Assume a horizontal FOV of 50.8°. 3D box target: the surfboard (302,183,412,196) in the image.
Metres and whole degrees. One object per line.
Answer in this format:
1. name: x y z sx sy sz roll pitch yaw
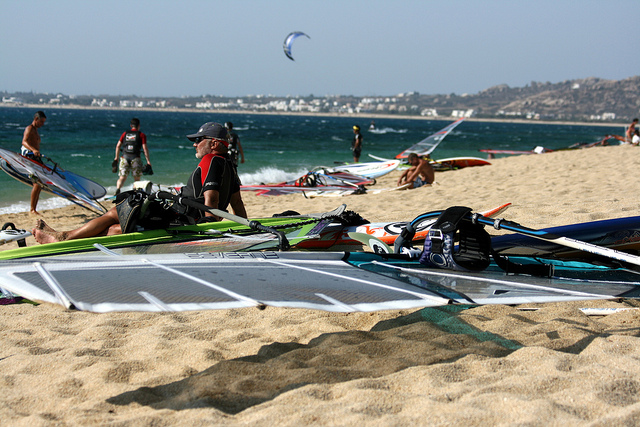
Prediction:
1. surfboard: 0.671 -0.487 13.196 1.945 0.082 0.203 -4 20 2

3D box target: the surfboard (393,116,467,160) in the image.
1. surfboard: 3.166 -2.147 19.401 1.384 1.041 5.394 2 10 12

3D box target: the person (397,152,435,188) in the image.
1. person: 1.983 -0.890 13.452 0.553 0.641 0.681 1 13 6

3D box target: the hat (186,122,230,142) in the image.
1. hat: -1.143 -0.874 6.992 0.422 0.126 0.212 -1 1 -7
